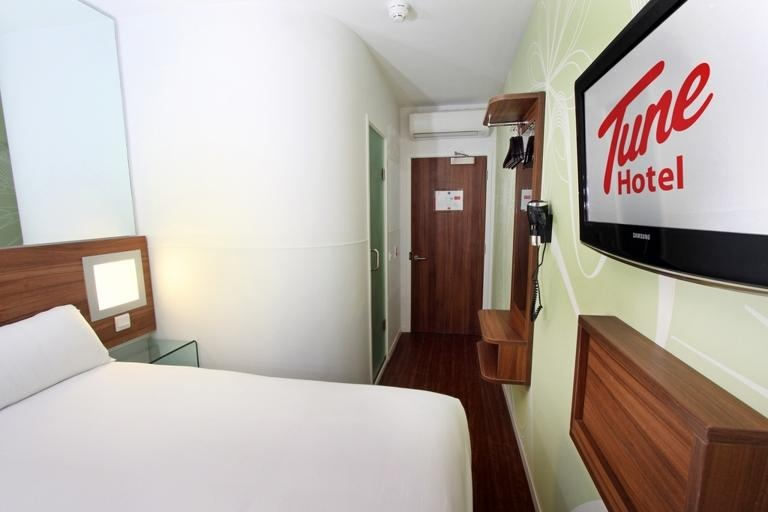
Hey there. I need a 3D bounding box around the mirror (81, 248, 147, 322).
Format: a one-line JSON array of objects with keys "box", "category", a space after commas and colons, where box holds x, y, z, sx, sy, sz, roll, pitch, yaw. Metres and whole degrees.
[{"box": [-1.772, 0.189, 3.183, 0.034, 0.499, 0.416, 1, 8, 26], "category": "mirror"}]

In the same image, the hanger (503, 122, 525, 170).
[{"box": [0.868, -0.730, 3.404, 0.109, 0.184, 0.382, 1, 19, 9], "category": "hanger"}]

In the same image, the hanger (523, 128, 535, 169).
[{"box": [0.912, -0.672, 3.079, 0.054, 0.229, 0.185, 2, 9, 14], "category": "hanger"}]

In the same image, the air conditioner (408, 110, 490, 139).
[{"box": [0.629, -1.283, 4.733, 0.759, 0.262, 0.232, 2, 9, 10], "category": "air conditioner"}]

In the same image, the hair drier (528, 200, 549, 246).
[{"box": [0.877, -0.185, 2.799, 0.143, 0.260, 0.162, -2, 9, -10], "category": "hair drier"}]

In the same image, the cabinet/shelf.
[{"box": [0.812, 0.583, 3.363, 0.314, 0.455, 0.528, 1, 9, 10], "category": "cabinet/shelf"}]
